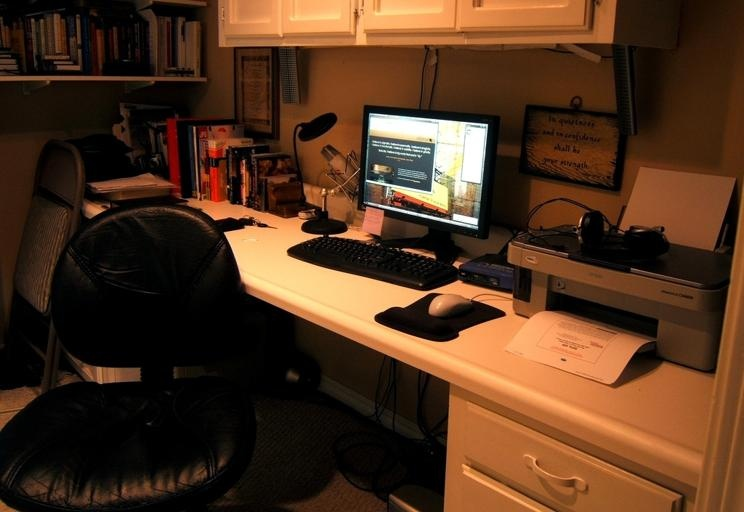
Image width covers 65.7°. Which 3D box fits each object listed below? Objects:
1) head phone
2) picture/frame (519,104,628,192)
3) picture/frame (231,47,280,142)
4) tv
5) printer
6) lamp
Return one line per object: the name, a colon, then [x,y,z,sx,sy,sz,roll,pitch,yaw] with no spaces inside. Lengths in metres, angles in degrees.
head phone: [0.687,-0.043,1.594,0.201,0.095,0.159,14,18,27]
picture/frame: [0.703,-0.371,1.965,0.303,0.201,0.032,15,16,39]
picture/frame: [-0.590,-0.829,2.956,0.038,0.530,0.481,-9,13,-42]
tv: [0.228,-0.274,2.149,0.514,0.448,0.182,19,25,39]
printer: [0.754,0.019,1.593,0.500,0.223,0.356,19,31,39]
lamp: [-0.258,-0.447,2.674,0.217,0.441,0.534,-4,19,-8]
